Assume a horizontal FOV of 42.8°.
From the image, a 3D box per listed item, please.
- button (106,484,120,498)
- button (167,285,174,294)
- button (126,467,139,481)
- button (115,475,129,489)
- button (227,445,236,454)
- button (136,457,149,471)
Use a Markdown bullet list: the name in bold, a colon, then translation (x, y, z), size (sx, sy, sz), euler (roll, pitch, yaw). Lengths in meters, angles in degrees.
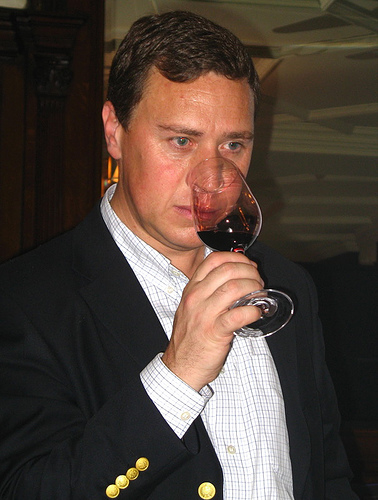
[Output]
- **button**: translation (-0.135, 0.427, 0.854), size (0.021, 0.015, 0.018), euler (24, 38, 23)
- **button**: translation (-0.046, 0.099, 1.210), size (0.017, 0.015, 0.015), euler (12, 35, 7)
- **button**: translation (-0.101, 0.401, 0.864), size (0.019, 0.015, 0.017), euler (18, 36, 15)
- **button**: translation (-0.119, 0.412, 0.859), size (0.020, 0.019, 0.018), euler (23, 38, 22)
- **button**: translation (0.092, 0.431, 1.044), size (0.017, 0.009, 0.017), euler (-12, 38, -26)
- **button**: translation (-0.085, 0.385, 0.868), size (0.027, 0.023, 0.006), euler (-2, -4, -3)
